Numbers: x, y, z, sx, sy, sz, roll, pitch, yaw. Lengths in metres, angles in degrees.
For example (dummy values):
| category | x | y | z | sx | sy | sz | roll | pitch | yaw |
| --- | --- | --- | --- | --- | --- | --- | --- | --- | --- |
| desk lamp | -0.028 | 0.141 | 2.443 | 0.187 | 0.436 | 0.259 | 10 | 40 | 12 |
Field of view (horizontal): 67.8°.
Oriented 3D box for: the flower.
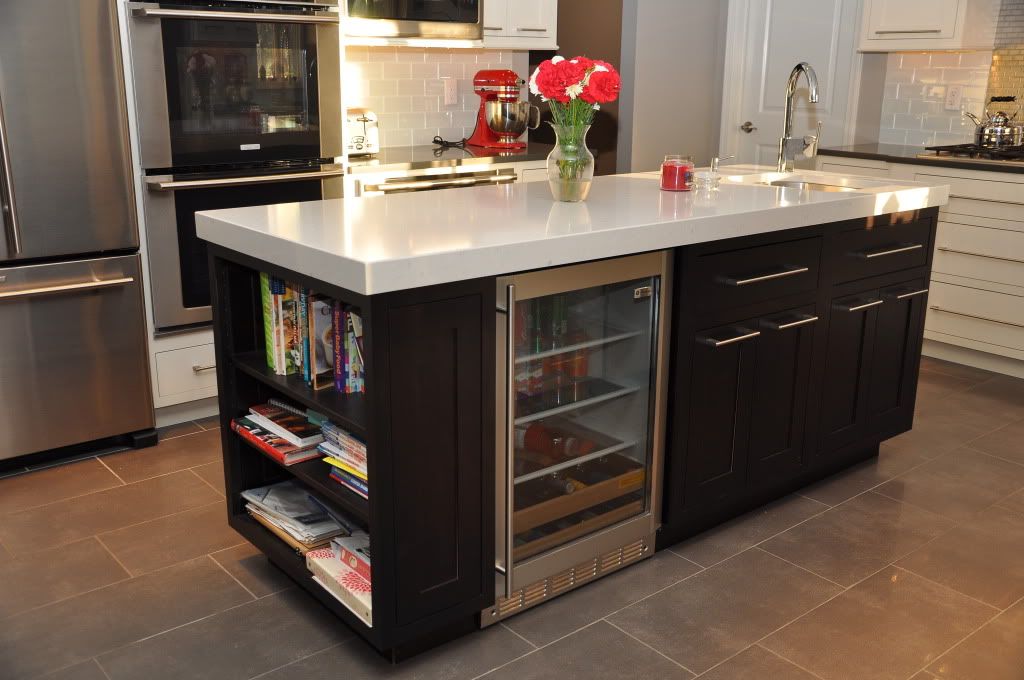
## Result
| category | x | y | z | sx | sy | sz | roll | pitch | yaw |
| --- | --- | --- | --- | --- | --- | --- | --- | --- | --- |
| flower | 0.263 | -0.908 | 3.093 | 0.379 | 0.380 | 0.390 | 27 | 38 | 28 |

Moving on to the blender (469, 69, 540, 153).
| category | x | y | z | sx | sy | sz | roll | pitch | yaw |
| --- | --- | --- | --- | --- | --- | --- | --- | --- | --- |
| blender | -0.072 | -1.543 | 5.125 | 0.562 | 0.519 | 0.315 | 15 | 22 | 40 |

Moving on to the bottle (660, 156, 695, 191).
| category | x | y | z | sx | sy | sz | roll | pitch | yaw |
| --- | --- | --- | --- | --- | --- | --- | --- | --- | --- |
| bottle | 0.740 | -0.746 | 3.444 | 0.152 | 0.144 | 0.151 | -8 | 19 | -25 |

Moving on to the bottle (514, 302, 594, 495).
| category | x | y | z | sx | sy | sz | roll | pitch | yaw |
| --- | --- | --- | --- | --- | --- | --- | --- | --- | --- |
| bottle | 0.148 | 0.157 | 2.761 | 0.364 | 0.624 | 0.102 | -14 | 26 | -31 |

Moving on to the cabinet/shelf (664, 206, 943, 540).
| category | x | y | z | sx | sy | sz | roll | pitch | yaw |
| --- | --- | --- | --- | --- | --- | --- | --- | --- | --- |
| cabinet/shelf | 1.220 | 0.139 | 3.279 | 1.219 | 0.975 | 0.685 | -11 | 22 | -27 |

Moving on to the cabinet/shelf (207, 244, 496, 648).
| category | x | y | z | sx | sy | sz | roll | pitch | yaw |
| --- | --- | --- | --- | --- | --- | --- | --- | --- | --- |
| cabinet/shelf | -0.522 | 0.360 | 2.633 | 0.519 | 1.274 | 1.091 | -15 | 25 | -39 |
